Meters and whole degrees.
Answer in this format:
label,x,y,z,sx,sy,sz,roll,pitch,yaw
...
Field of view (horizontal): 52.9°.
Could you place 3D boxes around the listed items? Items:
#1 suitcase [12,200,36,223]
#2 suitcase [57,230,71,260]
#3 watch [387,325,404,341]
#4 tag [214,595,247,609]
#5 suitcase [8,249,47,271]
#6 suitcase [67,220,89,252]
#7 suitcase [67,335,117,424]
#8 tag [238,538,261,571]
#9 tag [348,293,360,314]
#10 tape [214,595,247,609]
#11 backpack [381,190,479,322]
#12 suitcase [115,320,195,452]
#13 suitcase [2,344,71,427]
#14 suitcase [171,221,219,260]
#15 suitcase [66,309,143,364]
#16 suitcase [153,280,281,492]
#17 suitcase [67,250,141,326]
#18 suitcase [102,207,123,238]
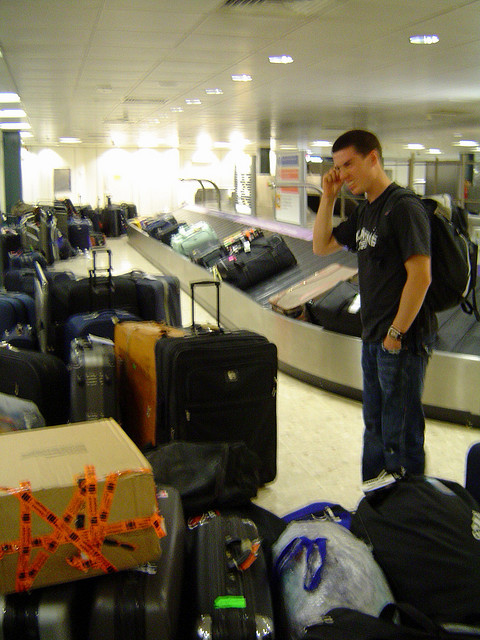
label,x,y,z,sx,sy,sz,roll,pitch,yaw
suitcase,-4.160,-2.060,9.206,0.248,0.271,1.105,-18,19,-12
suitcase,-3.907,-1.637,10.631,0.153,0.616,0.761,1,8,-9
watch,0.549,0.049,1.703,0.037,0.019,0.051,24,-4,37
tag,-0.017,0.547,0.933,0.038,0.009,0.022,1,7,-3
suitcase,-2.673,-0.742,5.974,0.592,0.201,0.591,-6,17,-32
suitcase,-3.999,-2.079,11.874,0.364,0.738,0.965,4,8,15
suitcase,-0.608,0.267,2.143,0.218,0.375,0.273,-2,16,-14
tag,0.020,0.519,1.064,0.017,0.050,0.035,35,-12,-12
tag,0.806,-0.103,3.370,0.036,0.117,0.157,20,16,5
tape,-0.018,0.548,0.934,0.037,0.009,0.022,2,10,-7
backpack,0.782,-0.270,1.891,0.442,0.494,0.352,-5,14,0
suitcase,-0.391,0.354,2.494,0.406,0.620,0.677,-4,10,-24
suitcase,-0.937,0.315,2.198,0.338,0.332,0.113,-4,5,-3
suitcase,-0.764,-1.265,7.411,0.652,0.679,0.803,-6,16,-26
suitcase,-0.752,-0.027,2.777,0.458,0.470,0.248,-5,10,-34
suitcase,-0.127,0.309,2.289,0.582,0.954,0.598,0,8,0
suitcase,-0.922,-0.118,3.171,0.475,0.689,0.243,-8,12,-29
suitcase,-4.201,-3.187,15.833,0.601,0.967,0.371,-1,8,-24
